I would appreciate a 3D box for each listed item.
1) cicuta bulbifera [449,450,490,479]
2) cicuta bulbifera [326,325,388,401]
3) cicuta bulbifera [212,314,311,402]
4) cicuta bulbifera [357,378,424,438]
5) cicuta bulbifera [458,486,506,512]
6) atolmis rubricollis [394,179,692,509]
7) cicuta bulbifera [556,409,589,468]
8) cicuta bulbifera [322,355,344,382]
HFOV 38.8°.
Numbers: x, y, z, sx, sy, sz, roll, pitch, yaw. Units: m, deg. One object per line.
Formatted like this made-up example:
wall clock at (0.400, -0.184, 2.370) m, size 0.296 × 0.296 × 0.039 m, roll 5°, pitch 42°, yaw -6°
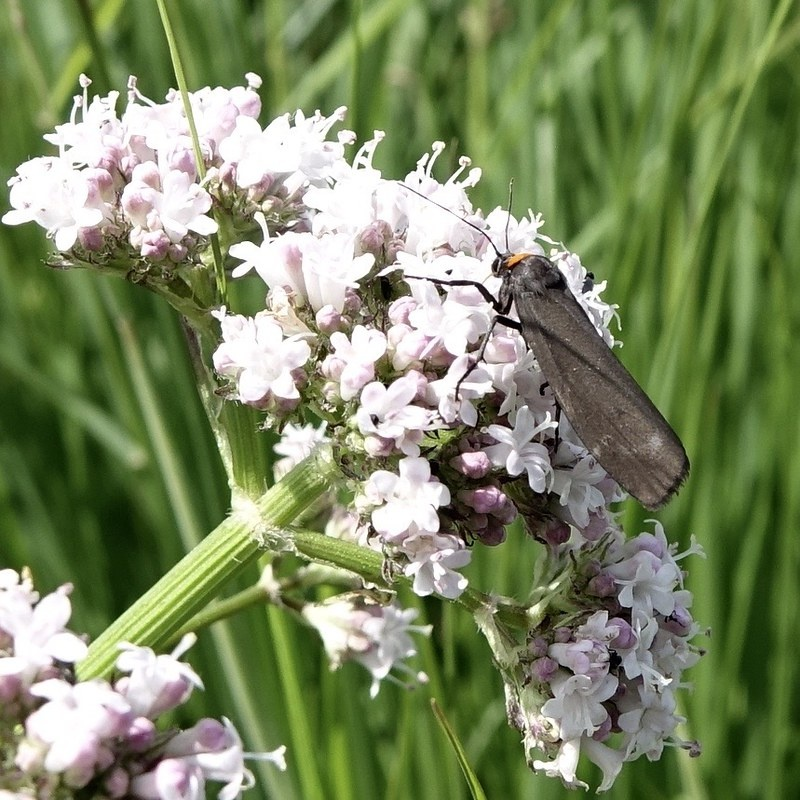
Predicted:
cicuta bulbifera at (0.170, 0.151, 2.669) m, size 0.076 × 0.058 × 0.036 m, roll 3°, pitch 2°, yaw 7°
cicuta bulbifera at (-0.102, -0.094, 2.639) m, size 0.150 × 0.164 × 0.159 m, roll -6°, pitch 13°, yaw -22°
cicuta bulbifera at (-0.317, -0.097, 2.683) m, size 0.220 × 0.205 × 0.255 m, roll -2°, pitch 33°, yaw 13°
cicuta bulbifera at (-0.018, 0.017, 2.596) m, size 0.163 × 0.138 × 0.128 m, roll -10°, pitch 32°, yaw 0°
cicuta bulbifera at (0.195, 0.219, 2.685) m, size 0.068 × 0.038 × 0.076 m, roll -12°, pitch 15°, yaw -20°
atolmis rubricollis at (0.404, -0.131, 2.674) m, size 0.551 × 0.667 × 0.536 m, roll 19°, pitch 17°, yaw 40°
cicuta bulbifera at (0.411, 0.096, 2.765) m, size 0.086 × 0.127 × 0.036 m, roll -27°, pitch -16°, yaw 12°
cicuta bulbifera at (-0.157, -0.077, 2.661) m, size 0.047 × 0.056 × 0.063 m, roll -1°, pitch 0°, yaw 0°
